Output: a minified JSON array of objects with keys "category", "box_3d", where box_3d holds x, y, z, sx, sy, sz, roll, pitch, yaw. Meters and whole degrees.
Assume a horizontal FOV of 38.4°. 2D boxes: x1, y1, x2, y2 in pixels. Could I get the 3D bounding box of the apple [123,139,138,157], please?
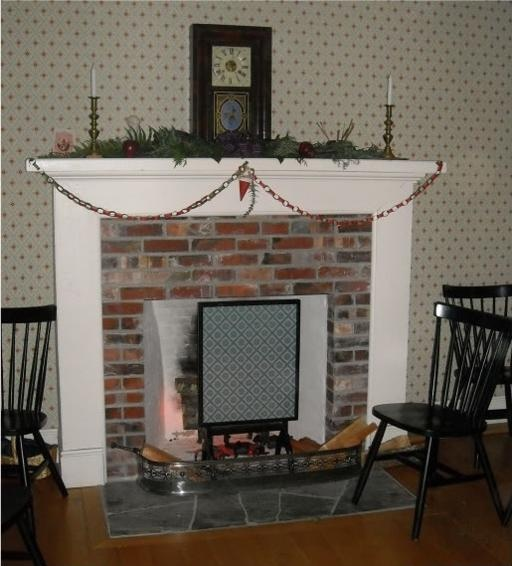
[{"category":"apple","box_3d":[-0.533,-0.570,3.187,0.067,0.073,0.064,0,16,-1]}]
